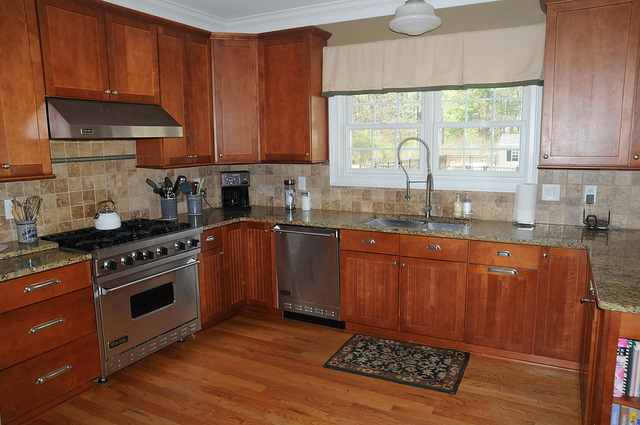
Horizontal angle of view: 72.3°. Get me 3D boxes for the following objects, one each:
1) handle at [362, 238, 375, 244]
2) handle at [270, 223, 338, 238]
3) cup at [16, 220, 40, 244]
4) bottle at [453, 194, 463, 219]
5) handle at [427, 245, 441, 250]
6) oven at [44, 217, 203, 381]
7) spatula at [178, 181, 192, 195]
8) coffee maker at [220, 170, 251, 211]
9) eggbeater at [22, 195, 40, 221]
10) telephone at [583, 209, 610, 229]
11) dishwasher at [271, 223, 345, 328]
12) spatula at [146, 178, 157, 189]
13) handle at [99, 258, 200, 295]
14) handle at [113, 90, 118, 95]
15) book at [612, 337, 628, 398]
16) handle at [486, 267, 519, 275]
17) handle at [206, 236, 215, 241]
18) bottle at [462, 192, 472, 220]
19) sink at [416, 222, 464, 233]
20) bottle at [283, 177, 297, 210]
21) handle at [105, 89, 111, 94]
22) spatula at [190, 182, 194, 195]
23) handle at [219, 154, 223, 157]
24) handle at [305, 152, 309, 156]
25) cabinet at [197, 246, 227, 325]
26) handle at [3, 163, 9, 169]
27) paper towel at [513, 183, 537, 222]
[{"bbox_3d":[0.485,0.273,4.361,0.115,0.049,0.006,2,10,21],"label":"handle"},{"bbox_3d":[-0.189,0.186,4.604,0.782,0.104,0.039,2,10,23],"label":"handle"},{"bbox_3d":[-2.534,0.162,3.798,0.206,0.206,0.188,1,3,0],"label":"cup"},{"bbox_3d":[1.445,-0.065,4.586,0.093,0.240,0.159,1,10,17],"label":"bottle"},{"bbox_3d":[1.080,0.320,4.137,0.115,0.042,0.011,1,10,17],"label":"handle"},{"bbox_3d":[-1.938,0.743,4.274,0.968,1.339,1.219,11,16,27],"label":"oven"},{"bbox_3d":[-1.478,-0.275,4.822,0.036,0.126,0.133,-5,-2,35],"label":"spatula"},{"bbox_3d":[-1.048,-0.266,5.421,0.401,0.447,0.343,-2,2,-6],"label":"coffee maker"},{"bbox_3d":[-2.563,-0.052,3.890,0.123,0.200,0.189,-8,11,-33],"label":"eggbeater"},{"bbox_3d":[2.612,0.062,4.131,0.174,0.113,0.142,1,7,27],"label":"telephone"},{"bbox_3d":[-0.023,0.592,5.027,0.824,1.060,0.791,4,10,28],"label":"dishwasher"},{"bbox_3d":[-1.809,-0.315,4.699,0.120,0.096,0.085,5,11,37],"label":"spatula"},{"bbox_3d":[-1.599,0.586,3.973,0.096,0.162,1.267,-2,8,44],"label":"handle"},{"bbox_3d":[-1.902,-1.111,4.073,0.018,0.023,0.037,-11,-19,3],"label":"handle"},{"bbox_3d":[1.891,0.968,2.757,0.061,0.371,0.096,5,12,36],"label":"book"},{"bbox_3d":[1.652,0.520,3.960,0.257,0.055,0.025,1,10,15],"label":"handle"},{"bbox_3d":[-1.143,0.265,4.568,0.075,0.034,0.022,0,2,-44],"label":"handle"},{"bbox_3d":[1.528,-0.074,4.546,0.092,0.258,0.166,1,10,20],"label":"bottle"},{"bbox_3d":[1.245,0.144,4.468,0.441,0.080,0.161,3,10,30],"label":"sink"},{"bbox_3d":[-0.365,-0.233,5.286,0.173,0.366,0.286,-3,9,-4],"label":"bottle"},{"bbox_3d":[-1.945,-1.109,4.027,0.031,0.021,0.007,2,1,-22],"label":"handle"},{"bbox_3d":[-1.478,-0.284,5.028,0.042,0.130,0.096,-4,-5,-21],"label":"spatula"},{"bbox_3d":[-1.117,-0.647,4.952,0.037,0.035,0.018,10,26,5],"label":"handle"},{"bbox_3d":[-0.147,-0.648,4.864,0.032,0.038,0.018,6,4,18],"label":"handle"},{"bbox_3d":[-1.084,0.773,4.648,0.288,0.694,0.301,4,10,12],"label":"cabinet"},{"bbox_3d":[-2.528,-0.375,3.518,0.030,0.034,0.018,5,-20,-31],"label":"handle"},{"bbox_3d":[2.013,-0.099,4.294,0.198,0.371,0.176,2,10,24],"label":"paper towel"}]
